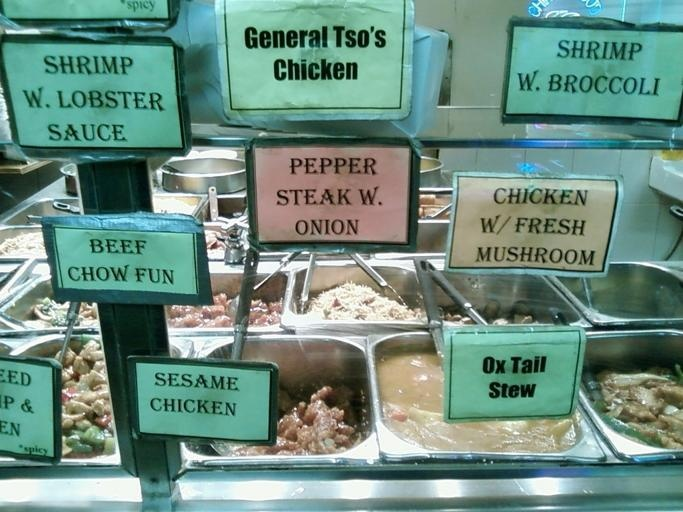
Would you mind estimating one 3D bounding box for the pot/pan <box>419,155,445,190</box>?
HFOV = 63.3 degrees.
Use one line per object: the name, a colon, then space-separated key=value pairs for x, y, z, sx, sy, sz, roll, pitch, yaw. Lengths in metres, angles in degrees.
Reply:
pot/pan: x=0.153 y=-0.147 z=0.979 sx=0.058 sy=0.039 sz=0.060 roll=-2 pitch=15 yaw=-3
